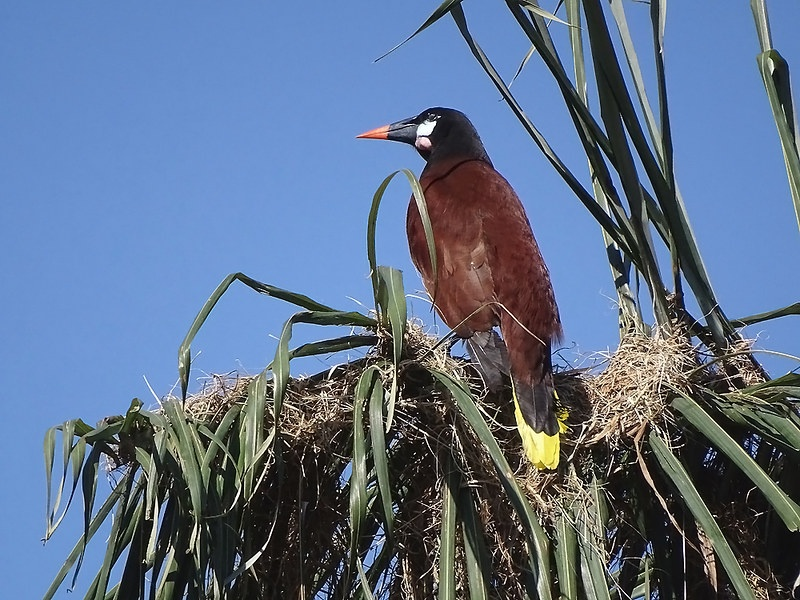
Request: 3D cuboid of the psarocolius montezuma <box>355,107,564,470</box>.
[{"bbox_3d":[0.315,-0.163,4.848,0.554,1.776,1.120,-7,-76,-11],"label":"psarocolius montezuma"}]
